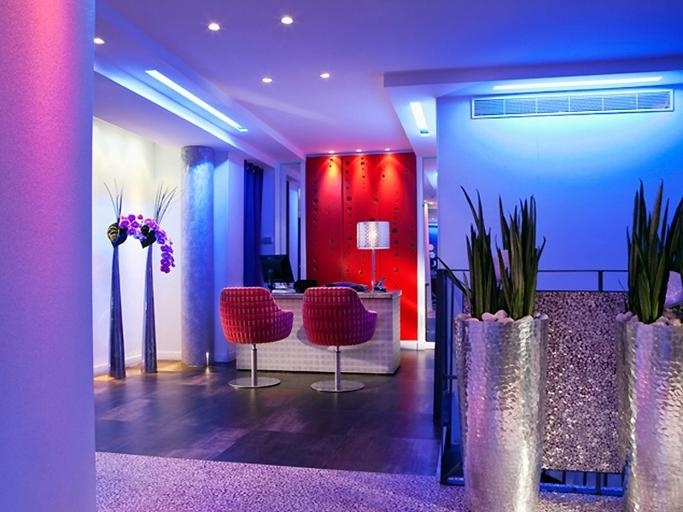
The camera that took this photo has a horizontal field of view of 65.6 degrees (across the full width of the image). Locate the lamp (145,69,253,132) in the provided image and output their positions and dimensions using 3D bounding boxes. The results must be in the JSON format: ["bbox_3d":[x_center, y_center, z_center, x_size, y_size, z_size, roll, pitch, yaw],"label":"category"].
[{"bbox_3d":[-1.568,-1.687,5.689,0.172,0.067,1.672,0,-1,14],"label":"lamp"}]

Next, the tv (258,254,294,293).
[{"bbox_3d":[-0.856,0.222,6.883,0.436,0.481,0.208,2,8,24],"label":"tv"}]

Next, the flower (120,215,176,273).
[{"bbox_3d":[-2.341,-0.154,6.407,0.249,0.658,0.726,0,0,32],"label":"flower"}]
